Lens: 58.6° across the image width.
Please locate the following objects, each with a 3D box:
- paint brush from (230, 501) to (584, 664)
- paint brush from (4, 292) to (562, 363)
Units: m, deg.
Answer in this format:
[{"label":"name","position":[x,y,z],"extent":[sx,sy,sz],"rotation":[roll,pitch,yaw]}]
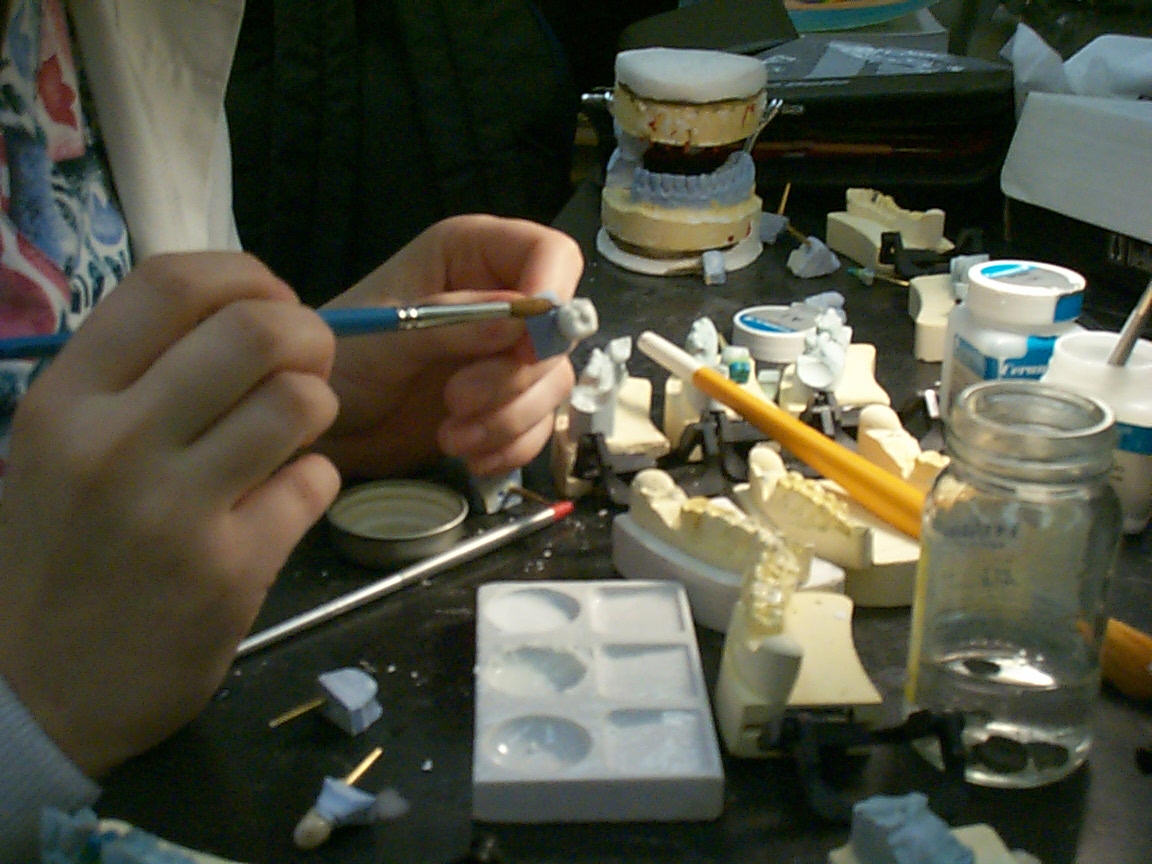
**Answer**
[{"label":"paint brush","position":[-0.178,0.159,1.042],"extent":[0.395,0.026,0.030],"rotation":[-21,61,-22]},{"label":"paint brush","position":[-0.271,-0.098,0.958],"extent":[0.601,0.050,0.058],"rotation":[-6,-3,-28]}]
